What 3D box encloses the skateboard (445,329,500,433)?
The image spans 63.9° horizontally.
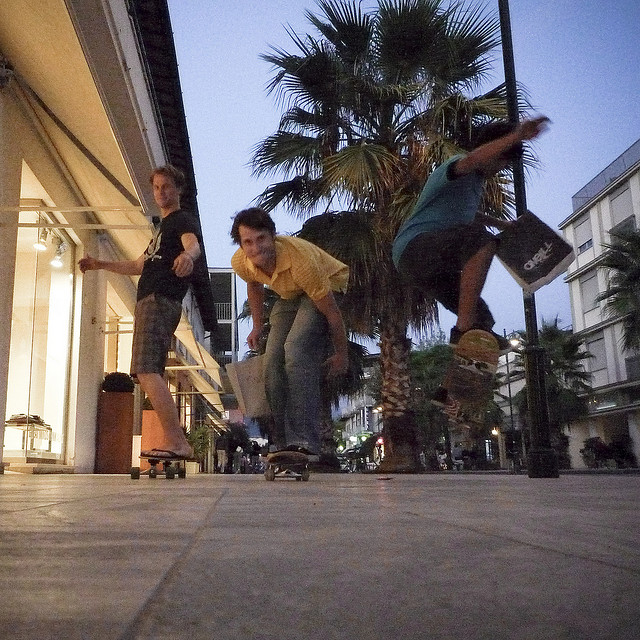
[{"bbox_3d":[1.155,0.424,3.944,0.328,0.921,0.083,13,27,17],"label":"skateboard"}]

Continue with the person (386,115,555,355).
[{"bbox_3d":[1.025,-0.584,3.663,0.839,1.636,1.154,5,-3,28],"label":"person"}]

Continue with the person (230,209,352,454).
[{"bbox_3d":[-0.215,0.127,4.024,0.926,1.807,0.957,-4,-13,4],"label":"person"}]

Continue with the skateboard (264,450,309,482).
[{"bbox_3d":[-0.266,1.143,4.025,0.319,0.234,0.588,-2,-15,-8],"label":"skateboard"}]
